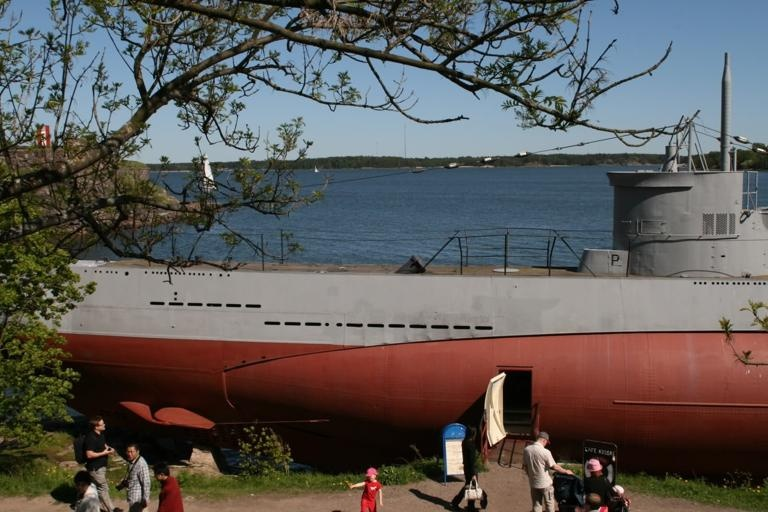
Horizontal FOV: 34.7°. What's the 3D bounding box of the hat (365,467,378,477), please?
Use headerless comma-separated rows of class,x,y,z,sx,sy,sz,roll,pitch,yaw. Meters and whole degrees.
hat,-0.314,4.350,24.528,0.245,0.146,0.297,0,1,1

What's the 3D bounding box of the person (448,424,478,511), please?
person,1.563,4.380,25.221,0.516,1.661,0.579,1,-2,1

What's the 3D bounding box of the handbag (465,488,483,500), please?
handbag,1.744,4.826,24.867,0.285,0.234,0.095,0,-11,-2

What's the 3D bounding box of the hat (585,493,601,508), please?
hat,3.911,4.719,23.599,0.233,0.263,0.274,13,-21,-6

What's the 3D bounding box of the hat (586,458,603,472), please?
hat,3.997,4.131,24.147,0.287,0.097,0.304,-10,0,-19
